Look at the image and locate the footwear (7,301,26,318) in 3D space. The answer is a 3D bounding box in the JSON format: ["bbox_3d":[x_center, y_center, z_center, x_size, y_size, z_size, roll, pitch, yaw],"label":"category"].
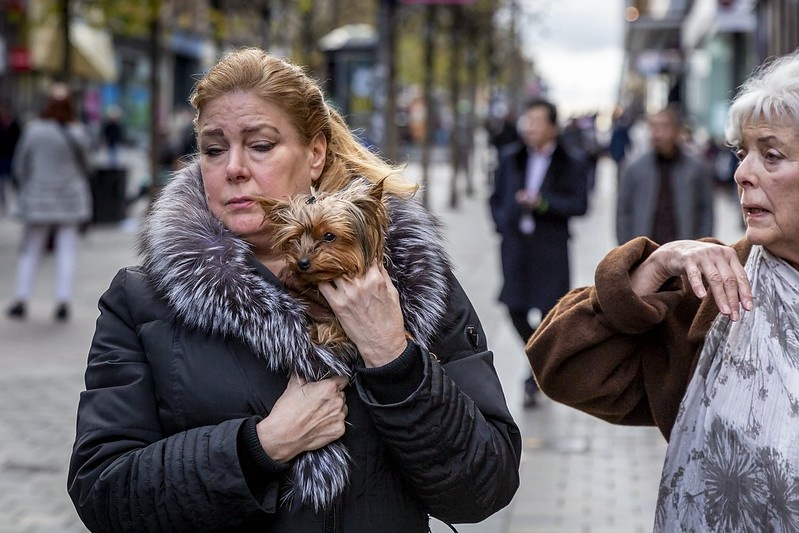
[{"bbox_3d":[-4.156,0.436,12.096,0.155,0.229,0.098,6,35,-11],"label":"footwear"}]

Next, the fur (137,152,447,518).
[{"bbox_3d":[-0.573,0.191,4.123,1.066,1.434,0.380,-9,-11,-4],"label":"fur"}]
